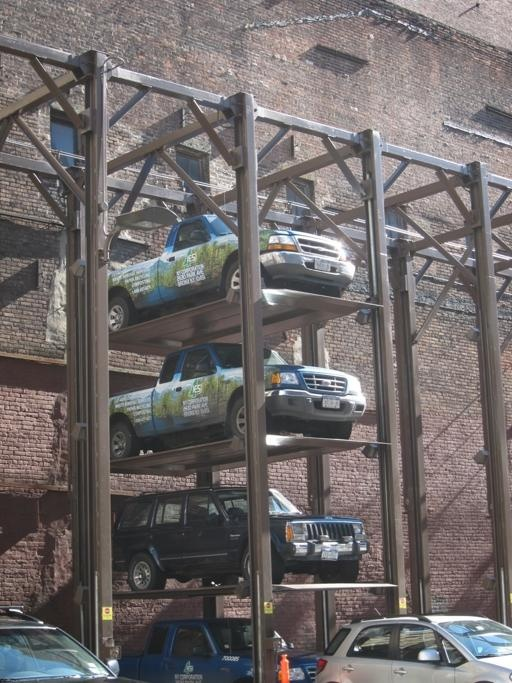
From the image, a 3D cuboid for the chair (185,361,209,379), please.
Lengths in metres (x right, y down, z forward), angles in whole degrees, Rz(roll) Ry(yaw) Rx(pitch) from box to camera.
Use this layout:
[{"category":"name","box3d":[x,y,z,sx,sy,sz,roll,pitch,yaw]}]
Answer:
[{"category":"chair","box3d":[-0.864,0.451,23.757,0.263,0.278,0.128,-1,-10,42]}]
